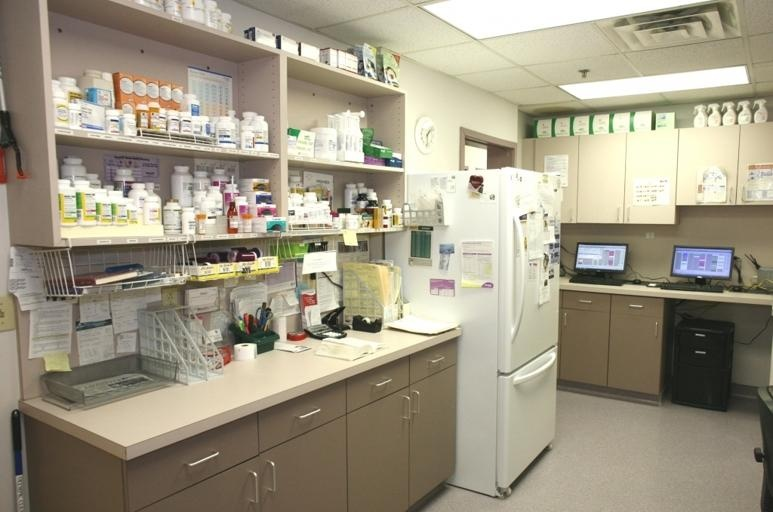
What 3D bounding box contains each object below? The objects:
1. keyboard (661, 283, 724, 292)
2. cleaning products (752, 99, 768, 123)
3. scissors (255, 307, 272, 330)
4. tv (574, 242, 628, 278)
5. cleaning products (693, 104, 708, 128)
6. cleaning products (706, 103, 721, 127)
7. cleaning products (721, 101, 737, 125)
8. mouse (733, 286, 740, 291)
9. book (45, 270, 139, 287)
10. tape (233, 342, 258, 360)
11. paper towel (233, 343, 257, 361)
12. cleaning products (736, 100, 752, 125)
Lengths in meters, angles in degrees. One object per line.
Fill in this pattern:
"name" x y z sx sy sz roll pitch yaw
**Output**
"keyboard" 2.922 0.292 5.190 0.506 0.050 0.322 2 11 15
"cleaning products" 3.476 -1.341 5.060 0.109 0.224 0.241 6 13 28
"scissors" -0.765 0.380 3.370 0.092 0.139 0.035 0 -17 2
"tv" 2.273 0.007 5.789 0.502 0.297 0.164 3 12 17
"cleaning products" 3.077 -1.371 5.330 0.124 0.232 0.348 6 12 28
"cleaning products" 3.156 -1.351 5.227 0.128 0.224 0.249 6 13 29
"cleaning products" 3.329 -1.388 5.275 0.132 0.254 0.482 6 13 31
"mouse" 3.297 0.301 5.117 0.057 0.019 0.055 -2 4 8
"book" -1.345 0.099 2.608 0.293 0.049 0.109 -5 12 -23
"tape" -0.819 0.535 3.135 0.102 0.058 0.097 -2 6 -22
"paper towel" -0.812 0.540 3.133 0.103 0.059 0.098 -1 6 -20
"cleaning products" 3.427 -1.375 5.202 0.129 0.248 0.439 6 13 31
